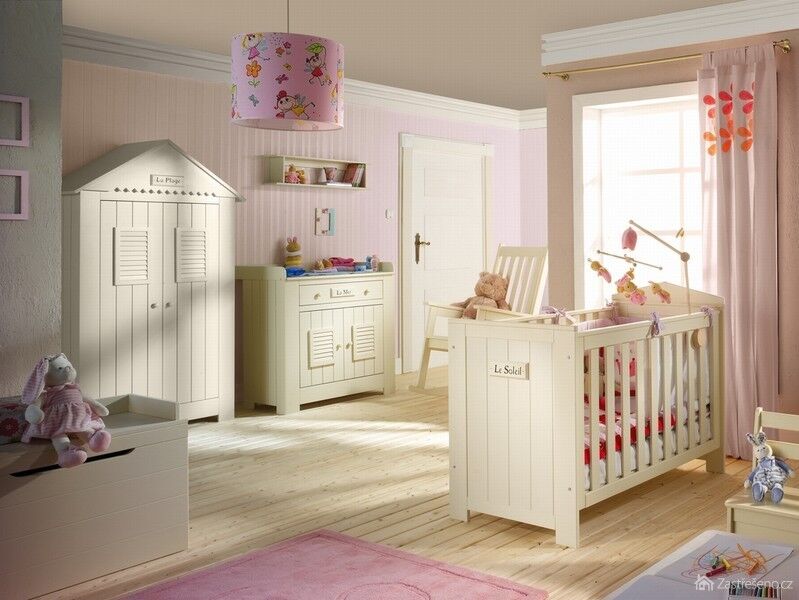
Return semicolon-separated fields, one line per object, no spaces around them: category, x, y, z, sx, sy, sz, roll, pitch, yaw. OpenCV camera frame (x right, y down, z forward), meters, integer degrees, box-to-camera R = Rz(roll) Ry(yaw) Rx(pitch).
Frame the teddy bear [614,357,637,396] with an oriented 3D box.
teddy bear;1.271;0.432;3.553;0.071;0.274;0.301;-2;1;29

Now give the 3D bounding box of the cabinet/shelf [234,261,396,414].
cabinet/shelf;-0.740;0.320;5.098;1.234;1.048;0.523;-2;2;-45

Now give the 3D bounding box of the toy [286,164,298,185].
toy;-0.940;-1.084;5.432;0.066;0.168;0.105;3;5;30

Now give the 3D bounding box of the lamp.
lamp;-0.605;-0.943;2.903;0.520;0.570;0.512;1;-1;-31

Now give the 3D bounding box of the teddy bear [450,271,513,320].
teddy bear;0.699;0.009;5.320;0.486;0.501;0.302;11;-13;11

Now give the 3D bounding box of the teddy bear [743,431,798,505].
teddy bear;1.453;0.658;2.505;0.153;0.141;0.341;-12;7;20

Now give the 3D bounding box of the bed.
bed;0.909;0.522;3.462;0.859;1.195;1.653;0;1;42

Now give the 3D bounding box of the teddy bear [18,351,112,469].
teddy bear;-1.250;0.417;2.392;0.325;0.381;0.281;2;5;28

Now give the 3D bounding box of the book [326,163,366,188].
book;-0.519;-1.154;5.808;0.167;0.240;0.456;4;5;39

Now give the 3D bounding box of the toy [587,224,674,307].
toy;1.472;-0.172;4.058;0.650;0.571;0.579;1;1;17
